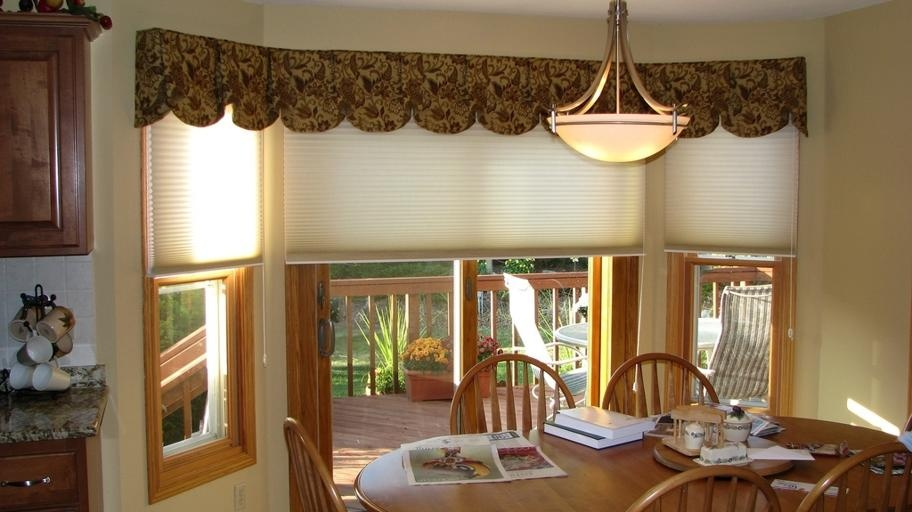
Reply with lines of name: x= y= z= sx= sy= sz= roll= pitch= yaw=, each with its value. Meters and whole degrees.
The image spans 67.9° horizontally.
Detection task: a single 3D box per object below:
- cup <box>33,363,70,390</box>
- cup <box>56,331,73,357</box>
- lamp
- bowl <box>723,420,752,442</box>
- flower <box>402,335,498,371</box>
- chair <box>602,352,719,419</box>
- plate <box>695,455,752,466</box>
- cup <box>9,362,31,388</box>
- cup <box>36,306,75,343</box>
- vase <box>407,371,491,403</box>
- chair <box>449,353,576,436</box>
cup: x=-2.430 y=0.721 z=4.068 sx=0.205 sy=0.130 sz=0.148 roll=-43 pitch=-25 yaw=29
cup: x=-2.368 y=0.536 z=4.132 sx=0.110 sy=0.105 sz=0.134 roll=17 pitch=1 yaw=-7
lamp: x=1.003 y=-0.970 z=3.930 sx=0.667 sy=1.115 sz=1.062 roll=-5 pitch=-16 yaw=22
bowl: x=1.586 y=0.986 z=3.808 sx=0.138 sy=0.088 sz=0.140 roll=-2 pitch=-3 yaw=0
flower: x=-0.108 y=0.930 z=6.461 sx=0.648 sy=0.247 sz=0.457 roll=0 pitch=-1 yaw=0
chair: x=1.451 y=0.902 z=4.797 sx=0.508 sy=0.585 sz=0.435 roll=3 pitch=-12 yaw=-18
plate: x=1.437 y=1.090 z=3.620 sx=0.209 sy=0.031 sz=0.138 roll=-2 pitch=-1 yaw=-4
cup: x=-2.600 y=0.715 z=4.089 sx=0.114 sy=0.146 sz=0.131 roll=-5 pitch=5 yaw=-7
cup: x=-2.412 y=0.403 z=4.062 sx=0.187 sy=0.218 sz=0.082 roll=10 pitch=-17 yaw=-30
vase: x=-0.066 y=1.122 z=5.882 sx=0.695 sy=0.291 sz=0.372 roll=0 pitch=0 yaw=-12
chair: x=0.401 y=1.014 z=4.980 sx=0.772 sy=0.933 sz=0.688 roll=2 pitch=-9 yaw=-18
